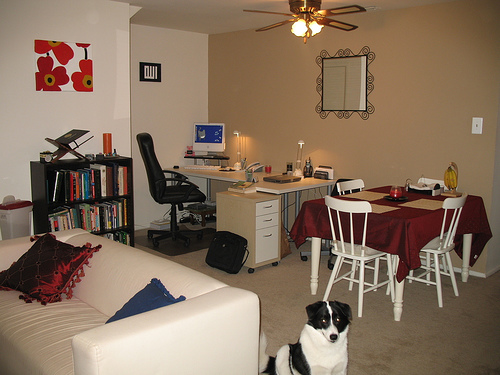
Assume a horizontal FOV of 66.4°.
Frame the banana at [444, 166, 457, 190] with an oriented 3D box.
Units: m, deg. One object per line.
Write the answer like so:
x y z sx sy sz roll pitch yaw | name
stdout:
2.140 -0.094 4.079 0.118 0.261 0.156 7 14 29 | banana

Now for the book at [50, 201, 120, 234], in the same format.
-1.985 0.363 4.656 0.776 0.378 0.322 -5 6 -30 | book

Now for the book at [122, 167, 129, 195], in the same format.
-1.571 -0.079 4.811 0.098 0.302 0.291 -2 8 -21 | book

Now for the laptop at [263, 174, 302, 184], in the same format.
0.457 -0.126 5.227 0.361 0.057 0.480 10 16 39 | laptop

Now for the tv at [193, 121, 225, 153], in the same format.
-0.671 -0.840 6.374 0.426 0.421 0.176 5 7 25 | tv

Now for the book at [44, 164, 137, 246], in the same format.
-1.847 0.172 4.353 0.278 0.980 0.800 8 12 33 | book

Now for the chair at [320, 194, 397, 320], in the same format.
1.040 0.639 3.693 0.550 1.071 0.596 2 8 40 | chair

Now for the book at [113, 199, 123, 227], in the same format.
-1.644 0.324 4.781 0.148 0.283 0.268 -3 12 -24 | book

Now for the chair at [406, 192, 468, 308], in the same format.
1.805 0.594 3.860 0.564 1.105 0.603 -7 11 -41 | chair

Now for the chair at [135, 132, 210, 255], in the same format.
-1.127 0.055 5.577 0.902 1.605 0.867 -6 10 -38 | chair

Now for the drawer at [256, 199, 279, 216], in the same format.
0.198 0.237 4.507 0.247 0.136 0.157 -7 9 -43 | drawer

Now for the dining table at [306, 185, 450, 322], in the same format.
1.386 0.290 3.926 1.190 1.155 1.392 -13 17 -42 | dining table

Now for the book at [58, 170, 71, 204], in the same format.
-2.099 -0.004 4.379 0.060 0.294 0.266 -2 7 -18 | book

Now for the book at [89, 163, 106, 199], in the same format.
-1.834 -0.075 4.598 0.109 0.356 0.345 -4 11 -28 | book

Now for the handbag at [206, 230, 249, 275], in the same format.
-0.275 0.768 4.613 0.446 0.475 0.253 15 2 23 | handbag

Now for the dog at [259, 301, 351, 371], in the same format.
0.346 0.973 2.556 0.353 0.603 0.576 15 -10 -9 | dog

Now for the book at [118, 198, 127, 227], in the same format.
-1.607 0.310 4.815 0.154 0.286 0.276 -4 11 -29 | book
